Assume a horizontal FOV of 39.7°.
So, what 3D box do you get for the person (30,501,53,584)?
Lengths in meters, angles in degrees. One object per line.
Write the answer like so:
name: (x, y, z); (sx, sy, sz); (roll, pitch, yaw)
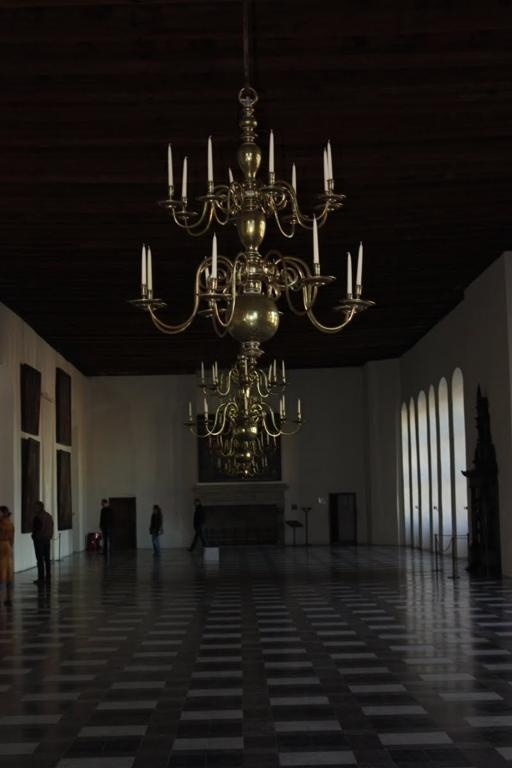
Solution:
person: (-4.447, 3.304, 14.750); (0.309, 1.715, 0.479); (-2, -2, 16)
